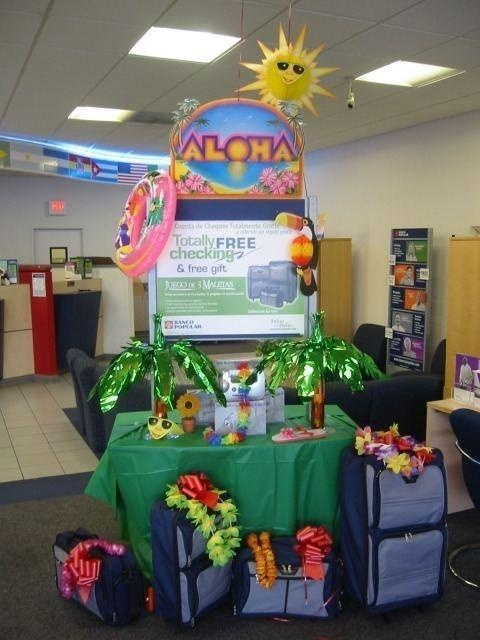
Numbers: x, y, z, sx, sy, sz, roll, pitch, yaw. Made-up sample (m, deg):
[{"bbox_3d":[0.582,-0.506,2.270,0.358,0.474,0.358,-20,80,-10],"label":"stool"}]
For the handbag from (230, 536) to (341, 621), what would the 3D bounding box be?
[{"bbox_3d":[0.189,0.947,1.952,0.452,0.360,0.255,0,-5,1],"label":"handbag"}]

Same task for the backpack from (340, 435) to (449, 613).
[{"bbox_3d":[0.647,0.840,2.000,0.381,0.649,0.328,-4,9,-15],"label":"backpack"}]

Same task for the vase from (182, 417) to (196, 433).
[{"bbox_3d":[-0.231,0.470,2.105,0.057,0.051,0.059,1,2,-6],"label":"vase"}]

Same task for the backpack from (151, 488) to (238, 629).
[{"bbox_3d":[-0.183,1.001,1.971,0.208,0.473,0.300,5,7,40],"label":"backpack"}]

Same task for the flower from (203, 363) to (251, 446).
[{"bbox_3d":[-0.019,0.364,2.024,0.171,0.307,0.076,2,-2,-17],"label":"flower"}]

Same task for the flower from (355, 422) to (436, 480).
[{"bbox_3d":[0.610,0.518,1.866,0.211,0.090,0.227,12,14,8],"label":"flower"}]

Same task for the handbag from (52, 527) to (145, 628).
[{"bbox_3d":[-0.632,1.079,2.035,0.379,0.299,0.225,6,6,33],"label":"handbag"}]
